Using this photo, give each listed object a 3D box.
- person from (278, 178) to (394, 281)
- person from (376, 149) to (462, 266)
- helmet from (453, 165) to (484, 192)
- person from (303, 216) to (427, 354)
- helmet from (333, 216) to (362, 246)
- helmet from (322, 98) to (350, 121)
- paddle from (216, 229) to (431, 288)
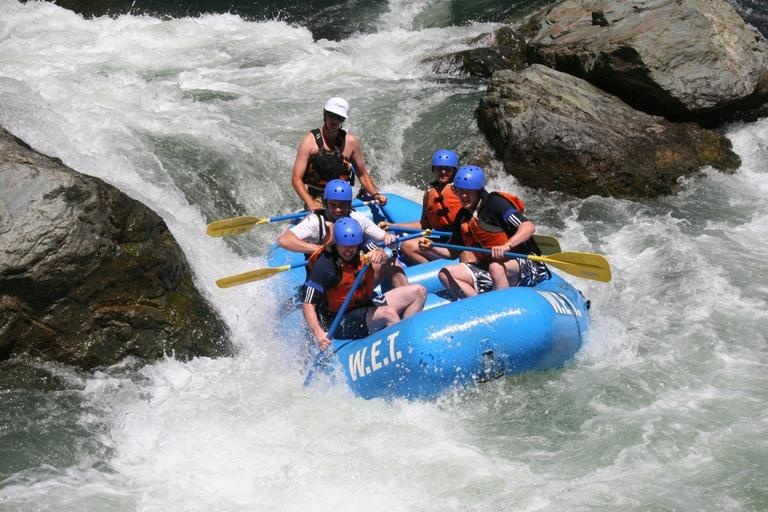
[{"bbox_3d":[-0.633,-0.325,11.580,1.312,1.745,0.707,-13,62,-16],"label":"person"},{"bbox_3d":[0.607,-0.661,12.058,1.297,1.177,1.582,2,97,39],"label":"person"},{"bbox_3d":[1.116,-0.988,11.251,0.371,0.281,0.263,21,79,-12],"label":"helmet"},{"bbox_3d":[-0.306,0.409,10.962,1.145,1.391,1.072,13,40,22],"label":"person"},{"bbox_3d":[-0.453,-0.300,10.542,0.295,0.376,0.268,-4,94,-12],"label":"helmet"},{"bbox_3d":[-0.693,-2.093,12.402,0.356,0.453,0.223,23,97,-13],"label":"helmet"},{"bbox_3d":[-0.725,0.040,11.467,2.707,0.115,0.260,-14,64,-9],"label":"paddle"}]
